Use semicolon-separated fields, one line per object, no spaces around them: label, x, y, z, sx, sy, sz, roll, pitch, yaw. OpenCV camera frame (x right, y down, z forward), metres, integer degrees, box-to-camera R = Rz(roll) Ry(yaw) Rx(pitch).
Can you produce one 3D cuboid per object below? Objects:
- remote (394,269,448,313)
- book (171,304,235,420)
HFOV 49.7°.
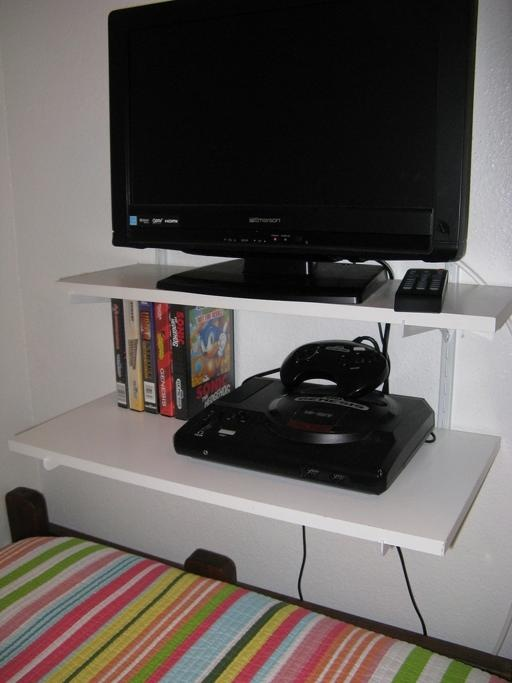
remote;0.241;-0.078;0.800;0.060;0.063;0.198;2;6;20
book;-0.108;0.039;1.057;0.029;0.219;0.183;2;11;26
